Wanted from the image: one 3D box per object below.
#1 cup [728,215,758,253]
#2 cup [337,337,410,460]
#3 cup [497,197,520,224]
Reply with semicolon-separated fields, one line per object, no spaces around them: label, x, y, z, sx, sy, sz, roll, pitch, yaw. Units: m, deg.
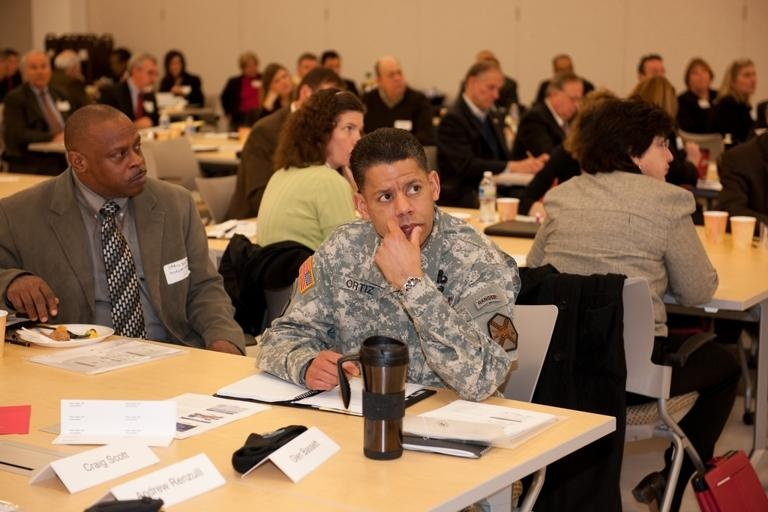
cup;1.941;-0.128;3.509;0.141;0.149;0.148;2;0;0
cup;-0.032;0.338;1.583;0.174;0.290;0.120;3;13;8
cup;0.783;-0.293;4.079;0.149;0.120;0.158;1;0;0
